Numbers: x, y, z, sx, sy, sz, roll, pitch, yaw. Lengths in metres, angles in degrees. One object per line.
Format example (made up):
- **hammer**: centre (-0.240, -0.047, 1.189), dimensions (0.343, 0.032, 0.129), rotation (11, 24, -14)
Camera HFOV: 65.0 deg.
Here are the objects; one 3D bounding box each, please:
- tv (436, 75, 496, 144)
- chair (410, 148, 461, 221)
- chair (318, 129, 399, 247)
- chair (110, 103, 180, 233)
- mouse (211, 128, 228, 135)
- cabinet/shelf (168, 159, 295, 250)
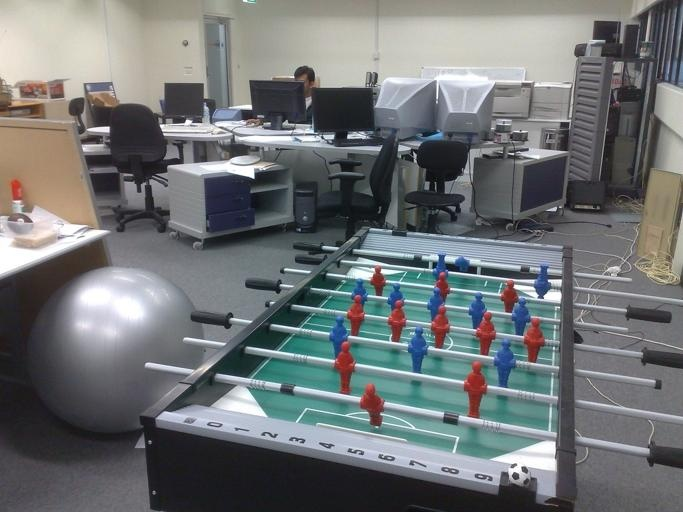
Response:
- **tv**: centre (1.107, -1.310, 4.845), dimensions (0.614, 0.624, 0.360), rotation (5, 25, 17)
- **chair**: centre (0.890, -0.739, 4.770), dimensions (0.510, 0.707, 0.588), rotation (3, 22, 15)
- **chair**: centre (0.113, -0.501, 4.601), dimensions (0.644, 1.058, 0.657), rotation (5, 14, -4)
- **chair**: centre (-1.933, -0.870, 5.198), dimensions (0.649, 1.171, 0.788), rotation (-9, 22, -22)
- **mouse**: centre (-1.281, -1.289, 5.564), dimensions (0.117, 0.034, 0.122), rotation (-6, 14, -42)
- **cabinet/shelf**: centre (-1.007, -0.519, 5.012), dimensions (0.607, 0.676, 1.047), rotation (17, 23, 36)
